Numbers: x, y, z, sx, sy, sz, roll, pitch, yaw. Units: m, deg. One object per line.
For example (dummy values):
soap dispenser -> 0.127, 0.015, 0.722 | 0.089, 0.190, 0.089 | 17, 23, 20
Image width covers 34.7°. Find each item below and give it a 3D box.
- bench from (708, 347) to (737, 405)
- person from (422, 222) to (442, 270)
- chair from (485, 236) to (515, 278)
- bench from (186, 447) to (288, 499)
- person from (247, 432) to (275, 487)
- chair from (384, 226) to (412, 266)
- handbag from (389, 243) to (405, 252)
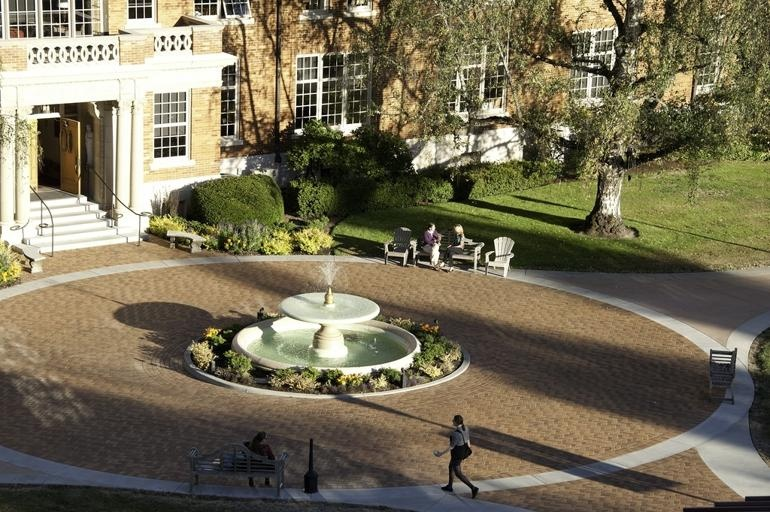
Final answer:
bench -> 9.718, 3.350, 35.464 | 0.747, 1.324, 1.378 | 6, 14, 16
person -> 1.644, -0.419, 43.022 | 0.627, 1.490, 1.242 | 2, 14, 1
chair -> 3.988, -0.004, 42.452 | 0.943, 1.009, 1.187 | 6, 15, 10
bench -> -3.656, 5.176, 30.568 | 2.347, 1.248, 0.960 | 1, 14, -3
person -> -3.054, 4.957, 30.891 | 0.725, 1.315, 0.591 | -7, 37, 6
chair -> 0.533, -0.353, 43.099 | 0.895, 0.952, 1.132 | 4, 17, 20
handbag -> 0.435, -0.275, 43.422 | 0.329, 0.375, 0.366 | 4, 5, 28
